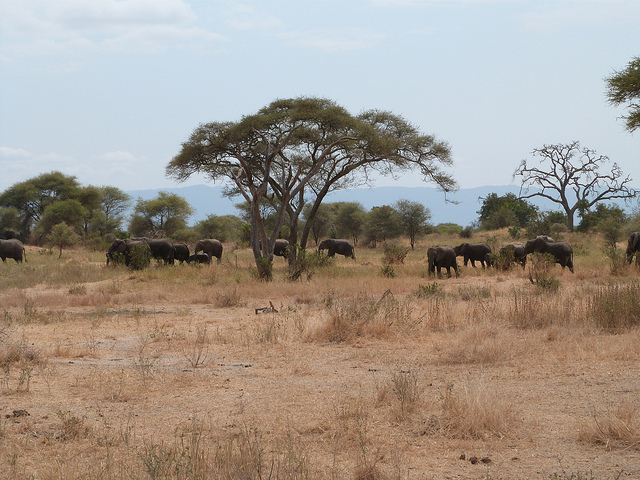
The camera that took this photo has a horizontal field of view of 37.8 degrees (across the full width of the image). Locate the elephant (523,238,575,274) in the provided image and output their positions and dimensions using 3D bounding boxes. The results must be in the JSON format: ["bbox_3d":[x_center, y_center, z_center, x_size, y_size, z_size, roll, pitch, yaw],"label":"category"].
[{"bbox_3d":[9.545,0.709,39.301,2.368,1.503,0.906,3,-2,15],"label":"elephant"}]

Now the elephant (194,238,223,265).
[{"bbox_3d":[-5.646,0.555,47.770,1.511,1.225,1.086,3,-2,-9],"label":"elephant"}]

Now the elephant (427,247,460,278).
[{"bbox_3d":[4.948,0.893,37.885,0.841,1.199,1.754,1,5,37],"label":"elephant"}]

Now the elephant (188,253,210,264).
[{"bbox_3d":[-5.957,0.909,46.052,1.012,0.631,0.501,3,2,15],"label":"elephant"}]

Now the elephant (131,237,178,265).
[{"bbox_3d":[-7.971,0.480,44.480,2.150,1.420,0.987,4,2,8],"label":"elephant"}]

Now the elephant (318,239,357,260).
[{"bbox_3d":[0.996,0.513,51.819,1.794,1.067,2.800,0,4,15],"label":"elephant"}]
